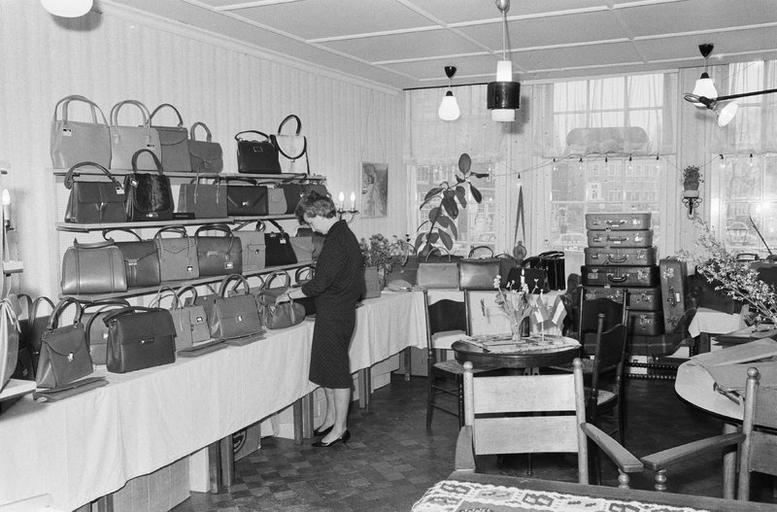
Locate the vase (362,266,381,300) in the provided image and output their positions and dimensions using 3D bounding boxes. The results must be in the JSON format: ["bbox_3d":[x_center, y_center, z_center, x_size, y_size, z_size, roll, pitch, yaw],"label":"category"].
[{"bbox_3d":[-0.183,0.292,6.626,0.303,0.311,0.224,3,-4,-13],"label":"vase"}]

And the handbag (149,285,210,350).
[{"bbox_3d":[-1.697,0.500,4.677,0.267,0.478,0.464,-4,1,25],"label":"handbag"}]

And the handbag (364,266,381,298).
[{"bbox_3d":[-0.185,0.292,6.646,0.210,0.306,0.295,-1,5,-42],"label":"handbag"}]

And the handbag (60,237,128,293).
[{"bbox_3d":[-2.256,0.079,4.444,0.427,0.404,0.164,0,-4,-26],"label":"handbag"}]

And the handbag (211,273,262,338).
[{"bbox_3d":[-1.358,0.439,5.123,0.325,0.617,0.499,-13,-9,41],"label":"handbag"}]

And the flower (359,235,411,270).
[{"bbox_3d":[-0.082,-0.061,7.422,0.524,0.382,0.536,4,1,40],"label":"flower"}]

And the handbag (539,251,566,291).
[{"bbox_3d":[1.994,0.166,6.937,0.420,0.572,0.372,0,5,8],"label":"handbag"}]

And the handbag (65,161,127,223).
[{"bbox_3d":[-2.302,-0.504,4.534,0.206,0.490,0.505,0,1,29],"label":"handbag"}]

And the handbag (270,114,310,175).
[{"bbox_3d":[-1.115,-1.288,6.613,0.460,0.776,0.397,-5,7,-10],"label":"handbag"}]

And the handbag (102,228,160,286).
[{"bbox_3d":[-2.075,0.014,4.645,0.214,0.493,0.451,-7,-6,34],"label":"handbag"}]

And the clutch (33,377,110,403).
[{"bbox_3d":[-2.048,0.847,3.754,0.188,0.062,0.482,3,8,27],"label":"clutch"}]

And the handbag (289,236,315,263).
[{"bbox_3d":[-0.938,-0.095,6.301,0.261,0.265,0.092,-4,0,-40],"label":"handbag"}]

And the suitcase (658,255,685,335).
[{"bbox_3d":[3.251,0.452,6.617,0.304,0.844,0.232,1,7,13],"label":"suitcase"}]

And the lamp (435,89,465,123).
[{"bbox_3d":[0.691,-1.724,6.541,0.196,0.337,0.378,1,7,12],"label":"lamp"}]

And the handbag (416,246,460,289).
[{"bbox_3d":[0.633,0.191,7.424,0.543,0.359,0.648,0,7,5],"label":"handbag"}]

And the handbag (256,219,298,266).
[{"bbox_3d":[-1.161,-0.122,5.989,0.119,0.379,0.265,-15,-7,43],"label":"handbag"}]

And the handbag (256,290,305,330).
[{"bbox_3d":[-1.009,0.471,5.374,0.351,0.263,0.366,-2,1,4],"label":"handbag"}]

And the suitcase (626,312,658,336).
[{"bbox_3d":[2.960,0.765,6.674,0.336,0.219,0.350,0,1,23],"label":"suitcase"}]

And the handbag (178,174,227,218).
[{"bbox_3d":[-1.705,-0.543,5.286,0.426,0.483,0.180,0,5,-43],"label":"handbag"}]

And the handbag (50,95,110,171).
[{"bbox_3d":[-2.480,-1.007,4.645,0.431,0.635,0.585,-5,8,-30],"label":"handbag"}]

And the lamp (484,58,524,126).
[{"bbox_3d":[0.905,-1.307,4.563,0.258,0.453,0.258,-5,11,-25],"label":"lamp"}]

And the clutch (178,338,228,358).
[{"bbox_3d":[-1.466,0.723,4.588,0.121,0.059,0.229,1,7,32],"label":"clutch"}]

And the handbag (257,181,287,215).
[{"bbox_3d":[-1.207,-0.605,6.050,0.087,0.296,0.298,-4,0,31],"label":"handbag"}]

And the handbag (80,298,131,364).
[{"bbox_3d":[-2.067,0.554,4.222,0.471,0.461,0.184,-3,4,-43],"label":"handbag"}]

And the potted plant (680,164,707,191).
[{"bbox_3d":[3.930,-1.018,7.483,0.299,0.438,0.331,1,2,31],"label":"potted plant"}]

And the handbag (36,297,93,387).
[{"bbox_3d":[-2.219,0.584,3.973,0.323,0.465,0.615,-4,7,-24],"label":"handbag"}]

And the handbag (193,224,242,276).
[{"bbox_3d":[-1.579,-0.056,5.335,0.480,0.469,0.216,-3,1,-30],"label":"handbag"}]

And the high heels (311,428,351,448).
[{"bbox_3d":[-0.550,1.724,5.537,0.358,0.154,0.133,4,-2,-15],"label":"high heels"}]

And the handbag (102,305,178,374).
[{"bbox_3d":[-1.826,0.617,4.227,0.167,0.412,0.456,-8,-6,41],"label":"handbag"}]
